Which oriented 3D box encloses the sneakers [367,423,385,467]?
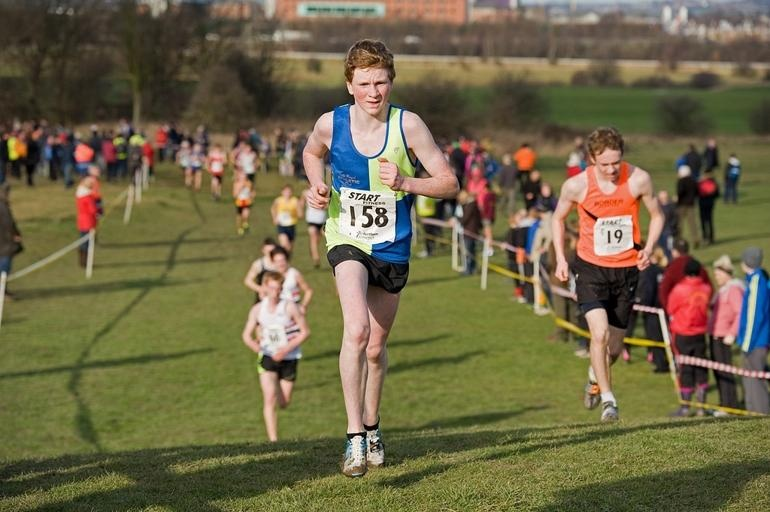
[{"bbox_3d":[-0.101,2.004,12.568,0.152,0.468,0.191,-2,-18,-2],"label":"sneakers"}]

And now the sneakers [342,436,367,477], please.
[{"bbox_3d":[-0.308,2.043,12.228,0.237,0.425,0.156,-2,7,-4],"label":"sneakers"}]

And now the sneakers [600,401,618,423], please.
[{"bbox_3d":[2.660,1.815,13.846,0.173,0.288,0.284,0,-12,0],"label":"sneakers"}]

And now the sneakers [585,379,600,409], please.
[{"bbox_3d":[2.485,1.695,14.259,0.129,0.393,0.167,1,17,9],"label":"sneakers"}]
